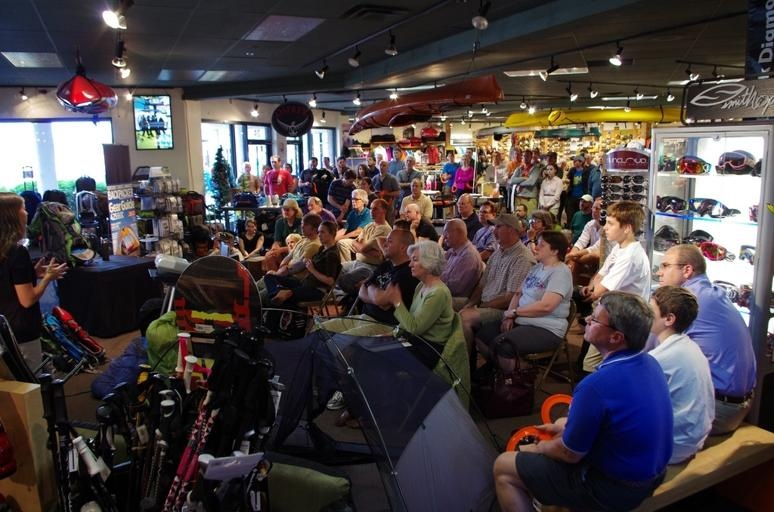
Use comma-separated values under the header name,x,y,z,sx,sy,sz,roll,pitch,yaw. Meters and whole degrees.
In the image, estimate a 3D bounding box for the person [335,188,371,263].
name,x,y,z,sx,sy,sz,roll,pitch,yaw
person,-0.493,-0.369,8.018,0.664,1.199,0.453,-7,15,-18

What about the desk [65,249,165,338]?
name,x,y,z,sx,sy,sz,roll,pitch,yaw
desk,-3.493,0.543,6.636,1.141,0.897,0.570,-8,12,-31

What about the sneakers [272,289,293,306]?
name,x,y,z,sx,sy,sz,roll,pitch,yaw
sneakers,-1.151,0.463,5.806,0.264,0.100,0.092,-18,24,22

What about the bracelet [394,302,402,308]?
name,x,y,z,sx,sy,sz,roll,pitch,yaw
bracelet,0.101,0.419,4.441,0.054,0.038,0.052,1,-4,-23

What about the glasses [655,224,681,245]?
name,x,y,z,sx,sy,sz,roll,pitch,yaw
glasses,2.745,-0.190,5.085,0.151,0.119,0.190,-1,4,-23

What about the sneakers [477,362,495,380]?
name,x,y,z,sx,sy,sz,roll,pitch,yaw
sneakers,0.897,1.082,4.902,0.137,0.201,0.205,10,-9,10

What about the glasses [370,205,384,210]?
name,x,y,z,sx,sy,sz,roll,pitch,yaw
glasses,-0.129,-0.649,7.096,0.119,0.033,0.122,1,-2,24

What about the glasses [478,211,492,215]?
name,x,y,z,sx,sy,sz,roll,pitch,yaw
glasses,1.365,-0.583,7.170,0.108,0.030,0.110,5,4,-13

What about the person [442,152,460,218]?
name,x,y,z,sx,sy,sz,roll,pitch,yaw
person,1.747,-1.870,14.326,0.698,1.818,0.678,3,17,5

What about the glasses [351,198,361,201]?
name,x,y,z,sx,sy,sz,roll,pitch,yaw
glasses,-0.466,-0.845,7.900,0.144,0.045,0.146,1,1,34

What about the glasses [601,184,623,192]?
name,x,y,z,sx,sy,sz,roll,pitch,yaw
glasses,3.855,-1.122,8.834,0.312,0.142,0.045,0,11,11

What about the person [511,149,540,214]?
name,x,y,z,sx,sy,sz,roll,pitch,yaw
person,3.198,-1.684,12.021,0.683,1.411,1.039,1,11,16

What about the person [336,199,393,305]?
name,x,y,z,sx,sy,sz,roll,pitch,yaw
person,-0.304,0.006,6.497,0.780,1.339,0.613,-1,8,-11

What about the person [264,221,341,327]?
name,x,y,z,sx,sy,sz,roll,pitch,yaw
person,-1.005,0.226,6.097,0.847,1.253,0.634,0,24,-36

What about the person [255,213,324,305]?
name,x,y,z,sx,sy,sz,roll,pitch,yaw
person,-1.185,0.033,6.352,0.741,1.090,0.488,-1,16,-17

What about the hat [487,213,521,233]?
name,x,y,z,sx,sy,sz,roll,pitch,yaw
hat,1.253,-0.327,5.405,0.253,0.118,0.164,13,7,0

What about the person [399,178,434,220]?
name,x,y,z,sx,sy,sz,roll,pitch,yaw
person,0.511,-0.929,9.197,0.598,0.809,0.570,3,10,-1

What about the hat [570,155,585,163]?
name,x,y,z,sx,sy,sz,roll,pitch,yaw
hat,4.144,-2.057,11.249,0.232,0.084,0.154,1,1,1

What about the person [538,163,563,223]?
name,x,y,z,sx,sy,sz,roll,pitch,yaw
person,3.516,-1.288,11.137,0.496,1.275,1.099,1,11,16

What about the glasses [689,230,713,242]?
name,x,y,z,sx,sy,sz,roll,pitch,yaw
glasses,2.931,-0.178,4.856,0.127,0.107,0.097,-11,-12,41

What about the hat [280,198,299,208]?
name,x,y,z,sx,sy,sz,roll,pitch,yaw
hat,-1.387,-0.729,7.456,0.177,0.117,0.212,-5,11,-18

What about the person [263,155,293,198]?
name,x,y,z,sx,sy,sz,roll,pitch,yaw
person,-3.035,-2.124,14.181,0.795,1.075,0.914,2,11,20
